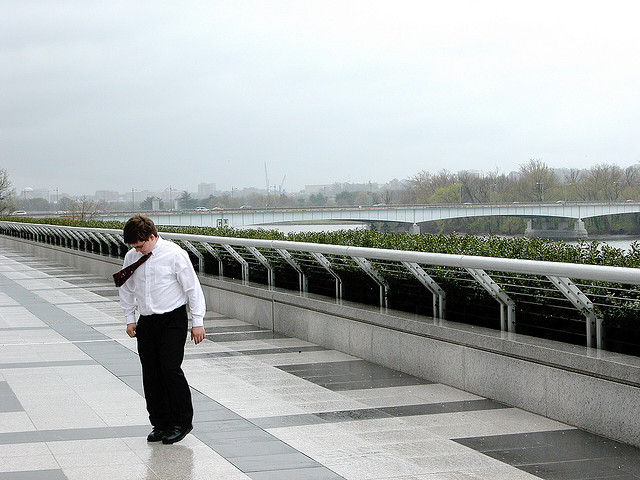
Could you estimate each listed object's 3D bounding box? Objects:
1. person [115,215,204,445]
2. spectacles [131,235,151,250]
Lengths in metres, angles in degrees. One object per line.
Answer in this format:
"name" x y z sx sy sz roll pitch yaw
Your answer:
"person" -1.365 0.746 5.321 0.763 1.899 0.388 0 1 1
"spectacles" -1.480 0.015 5.147 0.089 0.099 0.029 -3 -17 35
